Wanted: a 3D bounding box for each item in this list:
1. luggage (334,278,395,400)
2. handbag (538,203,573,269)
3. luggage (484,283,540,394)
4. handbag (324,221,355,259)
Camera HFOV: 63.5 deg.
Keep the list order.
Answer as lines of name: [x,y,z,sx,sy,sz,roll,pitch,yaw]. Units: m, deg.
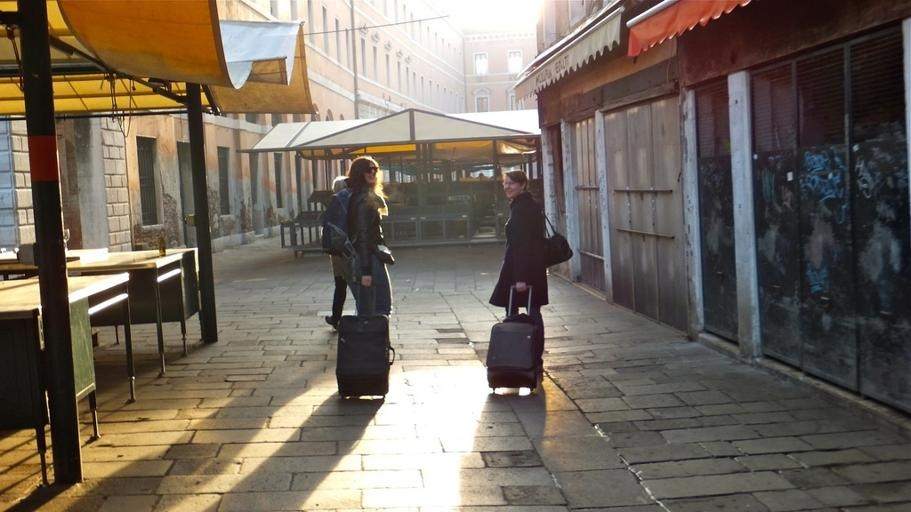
luggage: [-1.095,1.178,8.678,0.721,0.984,0.553,-1,-8,-5]
handbag: [1.189,-0.218,9.187,0.454,0.615,0.260,-17,9,25]
luggage: [0.707,1.118,8.785,0.579,0.849,0.753,0,11,12]
handbag: [-1.522,-0.201,9.544,0.476,0.523,0.393,0,3,1]
